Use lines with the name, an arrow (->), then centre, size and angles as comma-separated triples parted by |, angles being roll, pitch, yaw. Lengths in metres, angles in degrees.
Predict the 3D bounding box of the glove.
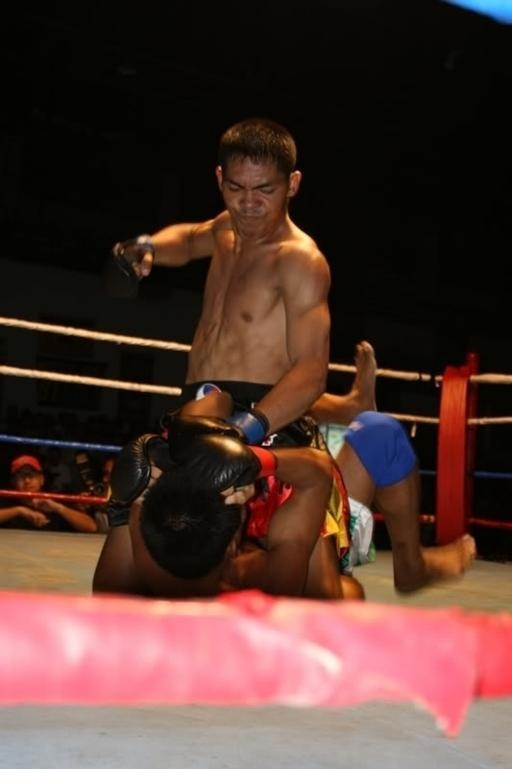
glove -> -0.108, 0.115, 1.041 | 0.151, 0.073, 0.194 | 5, 3, 22

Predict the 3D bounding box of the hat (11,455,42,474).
hat -> -1.553, 0.541, 4.907 | 0.201, 0.087, 0.291 | -1, -13, -17

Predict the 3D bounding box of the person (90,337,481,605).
person -> 0.079, 0.150, 1.390 | 0.489, 0.313, 0.768 | 2, -9, 19
